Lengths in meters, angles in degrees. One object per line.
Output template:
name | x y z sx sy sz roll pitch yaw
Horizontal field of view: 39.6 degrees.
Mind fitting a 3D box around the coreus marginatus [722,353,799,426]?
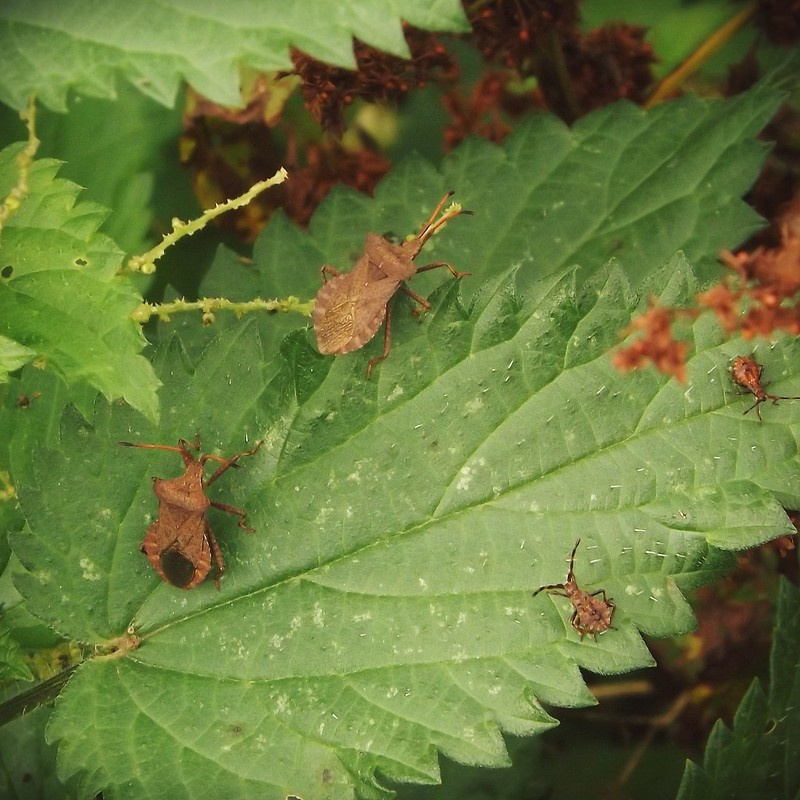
coreus marginatus | 0.904 -0.033 2.823 0.151 0.055 0.184 -33 94 20

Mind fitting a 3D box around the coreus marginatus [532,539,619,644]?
coreus marginatus | 0.463 0.547 2.868 0.178 0.143 0.045 14 6 -22
